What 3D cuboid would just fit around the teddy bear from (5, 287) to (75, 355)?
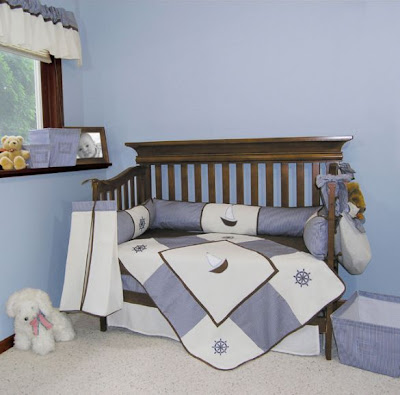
[{"bbox_3d":[-0.757,0.561,1.860,0.228,0.308,0.302,-3,-8,20],"label":"teddy bear"}]
